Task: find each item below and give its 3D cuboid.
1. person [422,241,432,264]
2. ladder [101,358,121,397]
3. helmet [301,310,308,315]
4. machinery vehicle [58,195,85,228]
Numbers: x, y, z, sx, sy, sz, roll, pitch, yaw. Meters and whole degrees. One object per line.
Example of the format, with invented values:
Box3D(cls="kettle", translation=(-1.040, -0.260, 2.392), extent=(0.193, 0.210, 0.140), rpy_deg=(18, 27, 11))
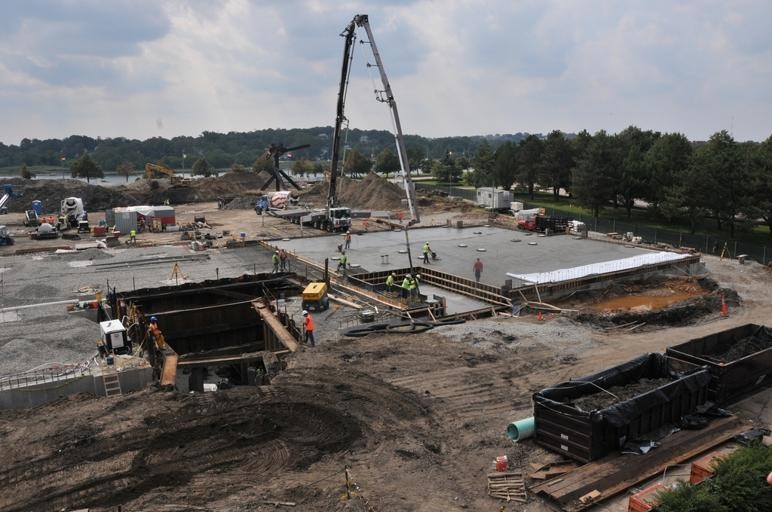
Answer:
Box3D(cls="person", translation=(3.204, -0.215, 46.536), extent=(0.850, 1.742, 0.859), rpy_deg=(-10, 42, 4))
Box3D(cls="ladder", translation=(-12.370, 5.439, 26.276), extent=(0.713, 1.435, 1.086), rpy_deg=(-7, 12, -25))
Box3D(cls="helmet", translation=(-4.436, 3.127, 31.847), extent=(0.530, 0.216, 0.653), rpy_deg=(-2, 7, -4))
Box3D(cls="machinery vehicle", translation=(-38.417, -5.427, 72.116), extent=(2.972, 2.451, 5.397), rpy_deg=(5, -11, -19))
